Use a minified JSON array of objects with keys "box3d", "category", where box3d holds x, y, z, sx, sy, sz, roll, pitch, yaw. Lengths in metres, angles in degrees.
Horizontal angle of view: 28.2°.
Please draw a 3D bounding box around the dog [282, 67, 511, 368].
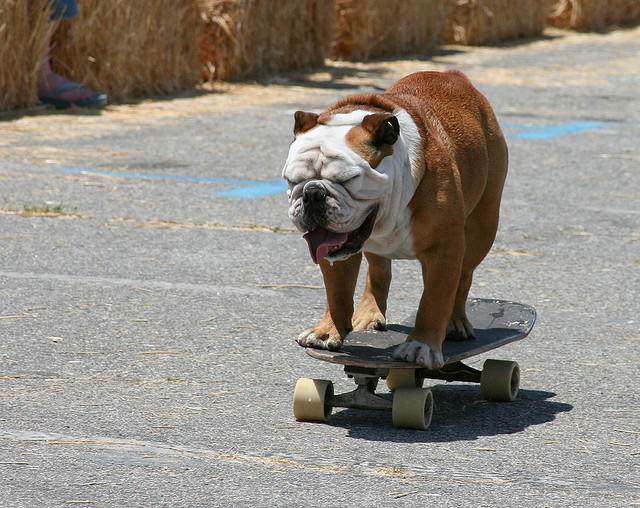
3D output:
[{"box3d":[0.387,-0.214,6.806,0.994,1.359,1.295,7,18,13],"category":"dog"}]
